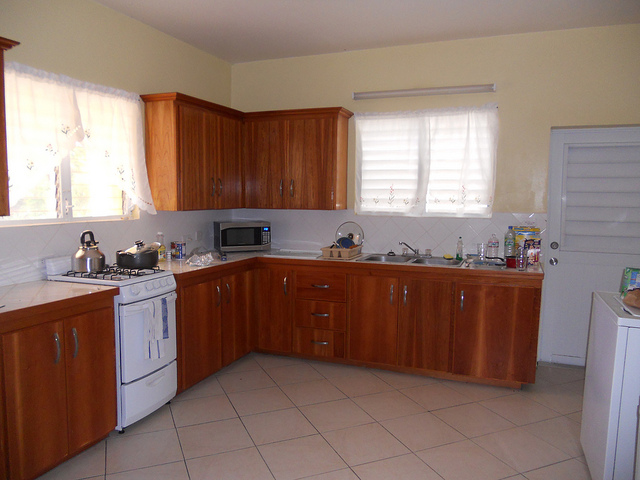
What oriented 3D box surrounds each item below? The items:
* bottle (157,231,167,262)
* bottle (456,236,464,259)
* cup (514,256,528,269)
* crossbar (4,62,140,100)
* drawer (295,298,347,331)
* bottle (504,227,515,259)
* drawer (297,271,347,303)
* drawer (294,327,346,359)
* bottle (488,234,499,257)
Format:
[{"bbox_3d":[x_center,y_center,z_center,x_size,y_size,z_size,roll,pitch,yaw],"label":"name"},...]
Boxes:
[{"bbox_3d":[-1.506,0.059,4.392,0.082,0.241,0.325,-4,13,-19],"label":"bottle"},{"bbox_3d":[1.410,0.084,4.636,0.063,0.200,0.178,4,13,18],"label":"bottle"},{"bbox_3d":[1.803,0.205,4.100,0.078,0.104,0.078,0,12,0],"label":"cup"},{"bbox_3d":[-1.965,-1.281,3.734,0.109,0.200,1.046,8,15,32],"label":"crossbar"},{"bbox_3d":[0.106,0.774,4.753,0.582,0.302,0.463,2,-1,30],"label":"drawer"},{"bbox_3d":[1.812,0.039,4.392,0.093,0.255,0.399,5,14,22],"label":"bottle"},{"bbox_3d":[0.016,0.412,4.689,0.542,0.343,0.353,2,18,3],"label":"drawer"},{"bbox_3d":[0.070,1.060,4.785,0.564,0.298,0.464,1,-2,24],"label":"drawer"},{"bbox_3d":[1.719,0.070,4.555,0.108,0.216,0.186,5,13,21],"label":"bottle"}]
